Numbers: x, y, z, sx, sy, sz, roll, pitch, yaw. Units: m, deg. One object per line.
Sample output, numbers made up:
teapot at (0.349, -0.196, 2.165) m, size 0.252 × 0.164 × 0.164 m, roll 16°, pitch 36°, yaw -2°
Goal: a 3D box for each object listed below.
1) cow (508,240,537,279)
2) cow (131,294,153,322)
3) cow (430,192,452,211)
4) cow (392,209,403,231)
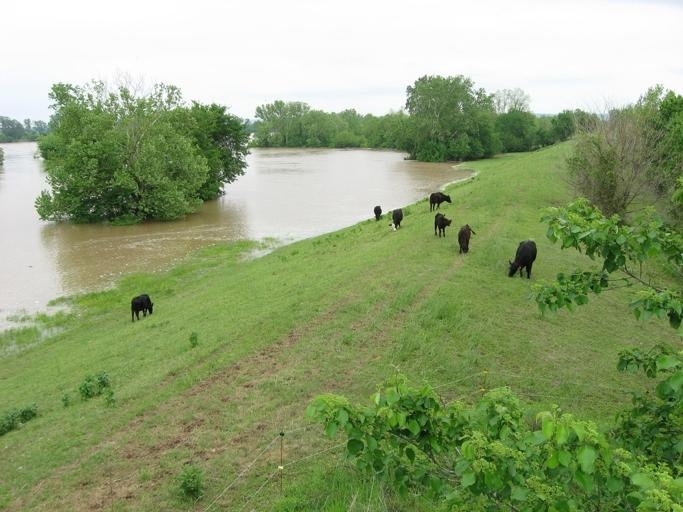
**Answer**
cow at (8.751, 0.119, 28.612) m, size 1.051 × 1.713 × 1.544 m, roll 4°, pitch 14°, yaw 40°
cow at (-10.980, 2.745, 32.348) m, size 0.642 × 1.163 × 1.326 m, roll 3°, pitch 13°, yaw 35°
cow at (7.334, -4.157, 43.900) m, size 1.491 × 1.204 × 2.821 m, roll -3°, pitch 11°, yaw 10°
cow at (3.875, -2.598, 40.804) m, size 0.570 × 1.199 × 1.912 m, roll -3°, pitch 11°, yaw 7°
